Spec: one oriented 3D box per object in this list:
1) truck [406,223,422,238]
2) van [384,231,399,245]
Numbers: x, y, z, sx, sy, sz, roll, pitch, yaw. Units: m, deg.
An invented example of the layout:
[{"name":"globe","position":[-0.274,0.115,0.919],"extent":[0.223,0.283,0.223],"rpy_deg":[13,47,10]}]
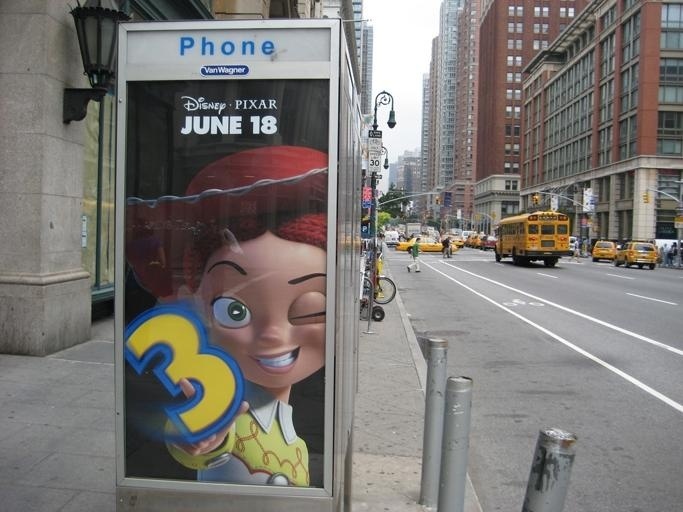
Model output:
[{"name":"truck","position":[10.355,-3.637,94.867],"extent":[1.615,2.078,3.332],"rpy_deg":[1,4,4]},{"name":"van","position":[5.564,-1.715,73.740],"extent":[1.376,1.391,2.528],"rpy_deg":[1,13,4]}]
